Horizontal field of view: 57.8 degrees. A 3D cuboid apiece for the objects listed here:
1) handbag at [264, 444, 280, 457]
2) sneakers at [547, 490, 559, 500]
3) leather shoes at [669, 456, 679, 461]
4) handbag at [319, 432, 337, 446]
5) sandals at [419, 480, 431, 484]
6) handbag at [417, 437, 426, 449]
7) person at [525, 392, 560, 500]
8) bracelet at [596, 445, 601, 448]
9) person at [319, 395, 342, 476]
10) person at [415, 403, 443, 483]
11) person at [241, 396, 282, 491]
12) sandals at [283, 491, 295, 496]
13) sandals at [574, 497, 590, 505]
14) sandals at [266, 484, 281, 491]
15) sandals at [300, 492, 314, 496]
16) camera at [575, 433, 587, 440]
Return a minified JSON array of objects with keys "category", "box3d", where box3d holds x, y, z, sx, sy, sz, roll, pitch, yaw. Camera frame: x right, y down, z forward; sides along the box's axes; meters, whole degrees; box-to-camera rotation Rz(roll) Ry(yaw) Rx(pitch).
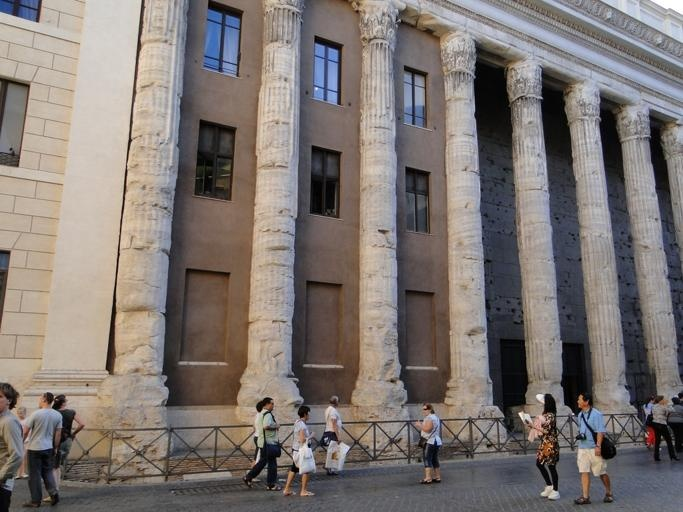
[{"category":"handbag","box3d":[-1.681,4.616,14.727,0.316,0.269,0.121,1,5,-21]},{"category":"sneakers","box3d":[4.860,5.423,14.063,0.267,0.195,0.142,6,-11,-20]},{"category":"leather shoes","box3d":[10.263,6.168,18.905,0.272,0.124,0.092,0,-4,-17]},{"category":"handbag","box3d":[-0.347,4.845,16.451,0.544,0.420,0.205,-7,-12,28]},{"category":"sandals","box3d":[2.154,5.749,15.822,0.257,0.082,0.104,-3,-16,20]},{"category":"handbag","box3d":[2.063,4.775,15.868,0.236,0.297,0.285,3,-16,-1]},{"category":"person","box3d":[4.657,4.346,14.179,0.594,2.344,1.467,-4,-11,16]},{"category":"bracelet","box3d":[5.668,4.188,13.609,0.054,0.039,0.074,2,-2,7]},{"category":"person","box3d":[-0.318,4.452,16.619,0.534,1.349,0.725,-1,-11,-3]},{"category":"person","box3d":[2.315,4.870,16.248,0.565,1.957,1.508,-3,-11,9]},{"category":"person","box3d":[-1.911,4.592,15.202,0.774,2.197,1.283,0,-11,-8]},{"category":"sandals","box3d":[-1.222,5.570,14.568,0.262,0.073,0.279,-1,-11,-1]},{"category":"sandals","box3d":[5.319,5.410,13.684,0.374,0.159,0.153,2,-23,1]},{"category":"sandals","box3d":[-1.641,5.655,15.133,0.295,0.125,0.157,0,-6,-10]},{"category":"sandals","box3d":[-0.805,5.586,14.531,0.231,0.067,0.116,0,-7,-6]},{"category":"camera","box3d":[5.362,4.037,13.844,0.188,0.190,0.132,7,-11,23]}]
